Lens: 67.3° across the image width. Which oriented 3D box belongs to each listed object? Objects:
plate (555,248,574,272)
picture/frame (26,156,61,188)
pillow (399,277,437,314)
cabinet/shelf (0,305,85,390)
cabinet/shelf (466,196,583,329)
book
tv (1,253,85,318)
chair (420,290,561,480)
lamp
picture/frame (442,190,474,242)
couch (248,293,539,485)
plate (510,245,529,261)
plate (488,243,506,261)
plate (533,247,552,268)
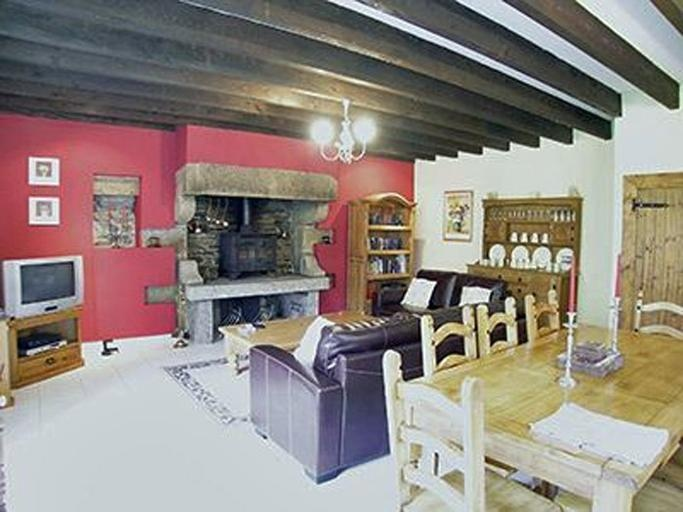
[{"bbox_3d":[2.765,0.052,6.326,0.043,0.330,0.267,15,-13,-24],"label":"plate"},{"bbox_3d":[-3.512,-0.992,5.998,0.378,0.412,0.042,-1,6,-33],"label":"picture/frame"},{"bbox_3d":[1.077,0.542,7.165,0.138,0.430,0.450,31,-11,-33],"label":"pillow"},{"bbox_3d":[-3.254,0.887,5.417,0.624,0.757,0.794,0,2,28],"label":"cabinet/shelf"},{"bbox_3d":[2.275,0.067,6.189,0.525,2.053,1.599,-1,4,-34],"label":"cabinet/shelf"},{"bbox_3d":[1.366,0.959,2.732,0.642,0.085,0.365,8,14,29],"label":"book"},{"bbox_3d":[-3.188,0.263,5.346,0.511,0.778,0.963,4,4,28],"label":"tv"},{"bbox_3d":[0.946,0.823,3.243,1.322,0.320,0.546,-7,7,-41],"label":"chair"},{"bbox_3d":[0.059,-1.143,4.999,0.388,0.381,0.384,5,-12,-21],"label":"lamp"},{"bbox_3d":[1.792,-0.610,7.765,0.051,1.068,0.761,0,2,-40],"label":"picture/frame"},{"bbox_3d":[0.526,1.032,4.808,2.572,1.250,1.128,-4,11,-39],"label":"couch"},{"bbox_3d":[2.435,-0.029,6.976,0.048,0.204,0.198,15,-10,-31],"label":"plate"},{"bbox_3d":[2.143,-0.030,7.157,0.192,0.235,0.048,4,-7,44],"label":"plate"},{"bbox_3d":[2.655,0.021,6.728,0.032,0.293,0.237,12,-12,-22],"label":"plate"}]
